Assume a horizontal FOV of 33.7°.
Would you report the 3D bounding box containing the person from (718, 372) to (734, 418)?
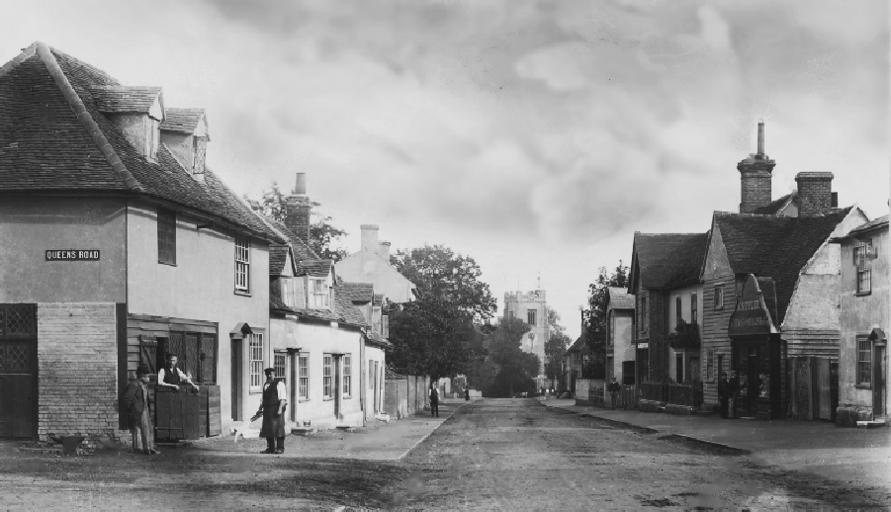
[{"bbox_3d":[13.191,6.662,69.386,0.690,1.820,1.366,-2,-2,12],"label":"person"}]
